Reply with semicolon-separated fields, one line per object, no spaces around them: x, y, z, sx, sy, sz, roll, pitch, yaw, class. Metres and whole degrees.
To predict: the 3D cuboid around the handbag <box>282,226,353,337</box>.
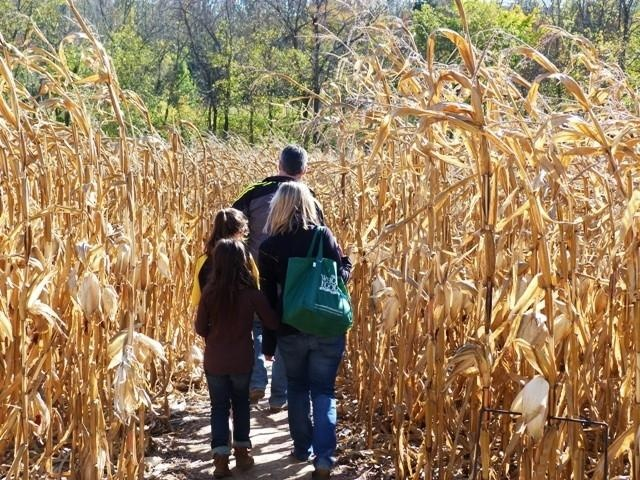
0.013;0.270;4.654;0.498;0.791;0.323;14;-29;-30;handbag
